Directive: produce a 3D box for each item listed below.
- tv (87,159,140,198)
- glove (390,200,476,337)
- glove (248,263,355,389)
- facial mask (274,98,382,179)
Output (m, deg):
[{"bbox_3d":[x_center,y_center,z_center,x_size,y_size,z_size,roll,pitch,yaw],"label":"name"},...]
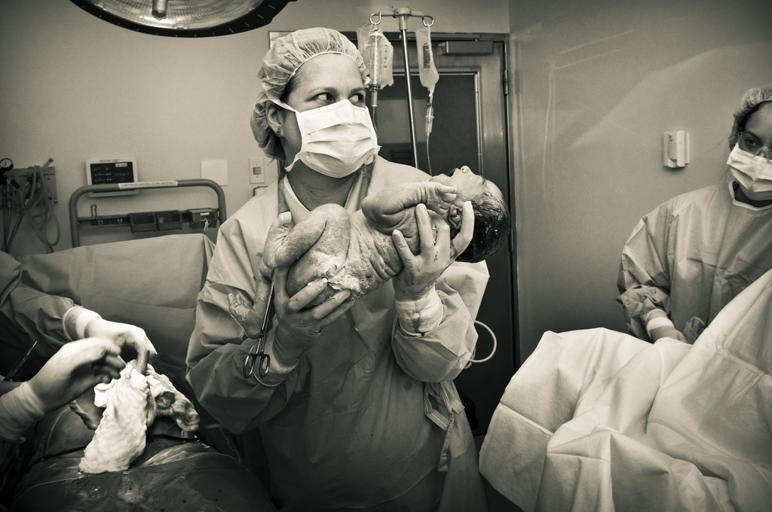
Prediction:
[{"bbox_3d":[-1.394,-0.390,3.304,0.237,0.199,0.102,-5,11,-27],"label":"tv"},{"bbox_3d":[0.123,0.045,1.764,0.210,0.383,0.141,1,9,0],"label":"glove"},{"bbox_3d":[-0.238,0.186,1.809,0.144,0.226,0.338,18,-31,-22],"label":"glove"},{"bbox_3d":[-0.178,-0.379,1.981,0.244,0.251,0.230,-7,15,-38],"label":"facial mask"}]
